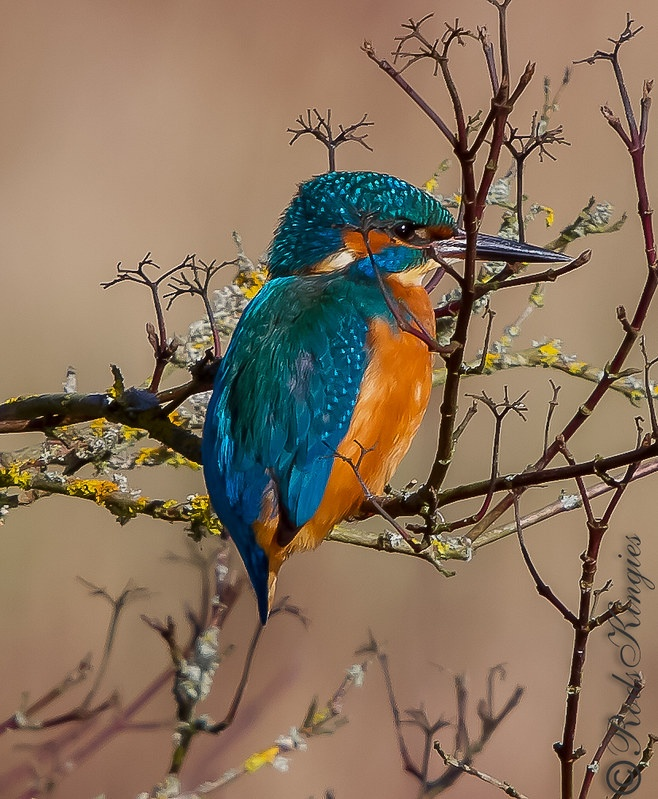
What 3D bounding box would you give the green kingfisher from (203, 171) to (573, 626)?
[{"bbox_3d":[0.092,-0.002,2.024,0.666,0.794,0.414,-3,13,4],"label":"green kingfisher"}]
